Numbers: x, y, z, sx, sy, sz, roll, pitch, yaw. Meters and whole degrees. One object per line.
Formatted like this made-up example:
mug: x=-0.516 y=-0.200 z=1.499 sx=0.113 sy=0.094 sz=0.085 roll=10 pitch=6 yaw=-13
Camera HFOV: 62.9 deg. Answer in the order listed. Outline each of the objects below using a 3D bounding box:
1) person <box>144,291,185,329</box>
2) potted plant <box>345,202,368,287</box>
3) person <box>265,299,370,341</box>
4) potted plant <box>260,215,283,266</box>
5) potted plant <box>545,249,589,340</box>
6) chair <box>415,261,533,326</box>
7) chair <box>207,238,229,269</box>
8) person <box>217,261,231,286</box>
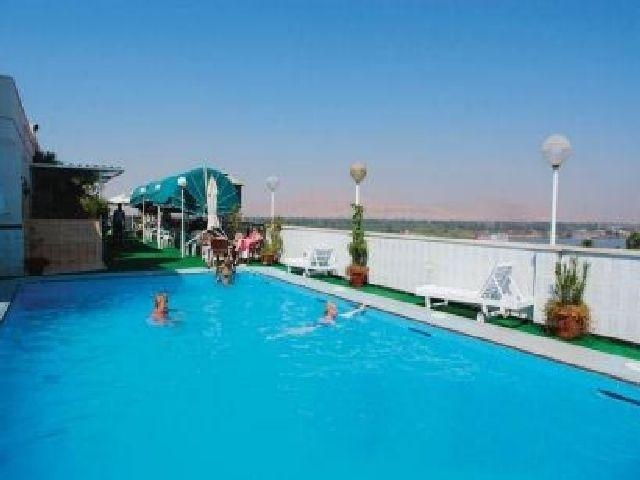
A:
person: x=-4.134 y=1.912 z=14.040 sx=0.882 sy=0.628 sz=0.950 roll=-3 pitch=5 yaw=-32
potted plant: x=1.323 y=0.147 z=17.920 sx=0.720 sy=2.752 sz=1.674 roll=0 pitch=10 yaw=4
person: x=0.019 y=2.000 z=13.312 sx=2.699 sy=0.554 sz=0.876 roll=-4 pitch=10 yaw=-21
potted plant: x=-2.307 y=0.070 z=25.146 sx=1.051 sy=2.121 sz=2.260 roll=-2 pitch=10 yaw=-5
potted plant: x=5.359 y=1.222 z=11.301 sx=0.858 sy=1.597 sz=0.789 roll=-7 pitch=11 yaw=-33
chair: x=3.794 y=1.262 z=12.857 sx=1.302 sy=1.035 sz=2.236 roll=0 pitch=4 yaw=-42
chair: x=-3.571 y=0.430 z=18.691 sx=0.599 sy=1.016 sz=0.765 roll=-1 pitch=10 yaw=-3
person: x=-3.383 y=1.163 z=18.549 sx=0.547 sy=0.791 sz=0.391 roll=-2 pitch=10 yaw=-8
